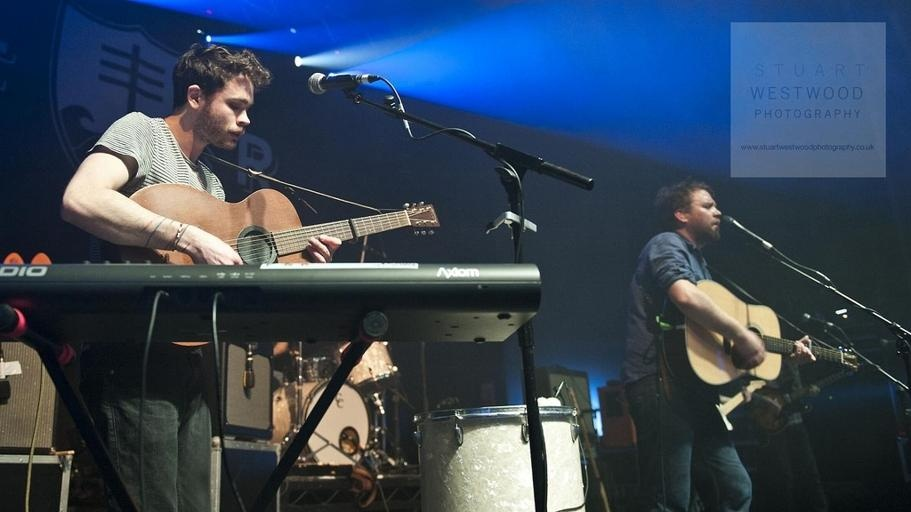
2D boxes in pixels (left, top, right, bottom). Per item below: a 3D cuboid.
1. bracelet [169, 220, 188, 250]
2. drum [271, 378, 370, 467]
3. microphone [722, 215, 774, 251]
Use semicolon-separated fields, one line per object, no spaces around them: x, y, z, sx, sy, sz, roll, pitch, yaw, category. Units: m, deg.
-1.931;-0.138;6.261;0.134;0.181;0.036;-2;-8;25;bracelet
-1.176;1.615;8.814;0.809;0.762;0.616;-2;-1;-6;drum
2.867;-0.213;8.917;0.517;0.098;0.074;36;19;16;microphone
